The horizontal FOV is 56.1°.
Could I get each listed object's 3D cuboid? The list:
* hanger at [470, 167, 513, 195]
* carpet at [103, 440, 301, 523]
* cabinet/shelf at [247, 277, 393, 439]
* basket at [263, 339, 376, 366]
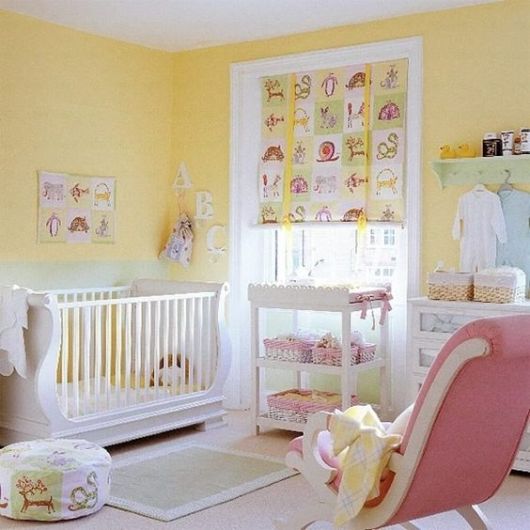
[{"bbox_3d":[1.404,-0.521,3.077,0.174,0.115,0.013,2,4,43],"label":"hanger"},{"bbox_3d":[-0.385,1.073,2.596,0.829,0.018,1.008,-3,-5,43],"label":"carpet"},{"bbox_3d":[0.370,0.563,3.151,0.957,1.054,0.580,-2,-3,33],"label":"cabinet/shelf"},{"bbox_3d":[0.320,0.552,3.176,0.414,0.104,0.264,-2,-4,30],"label":"basket"}]
